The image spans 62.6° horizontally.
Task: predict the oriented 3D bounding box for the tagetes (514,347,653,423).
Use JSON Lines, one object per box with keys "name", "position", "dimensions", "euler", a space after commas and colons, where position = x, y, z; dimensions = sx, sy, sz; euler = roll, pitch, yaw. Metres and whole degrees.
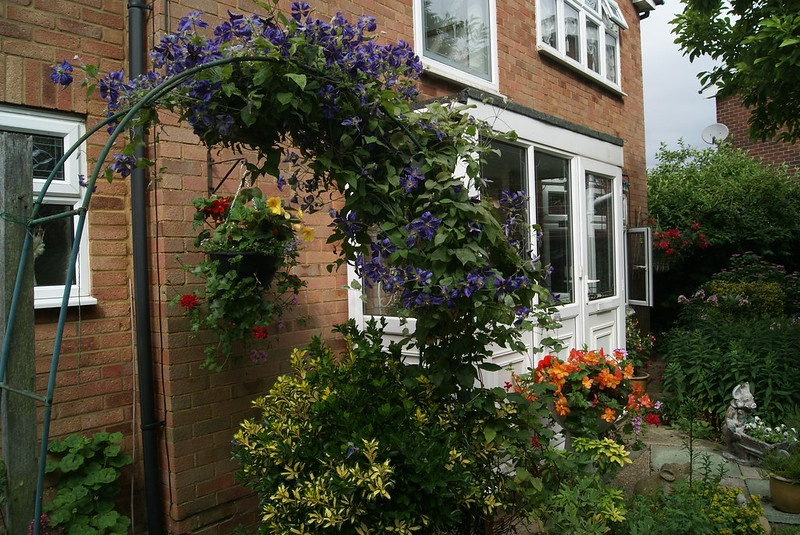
{"name": "tagetes", "position": [1.410, 0.948, 5.231], "dimensions": [0.776, 0.458, 0.754], "euler": [7, -9, -37]}
